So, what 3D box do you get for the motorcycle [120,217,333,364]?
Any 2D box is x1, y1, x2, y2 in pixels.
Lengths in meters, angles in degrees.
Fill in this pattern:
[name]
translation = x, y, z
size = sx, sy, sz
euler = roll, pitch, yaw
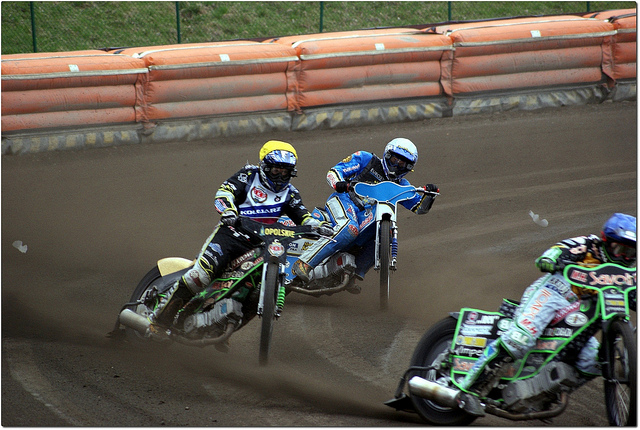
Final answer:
[motorcycle]
translation = -1.210, 1.044, 10.372
size = 1.472, 1.817, 3.604
euler = 25, -24, -39
